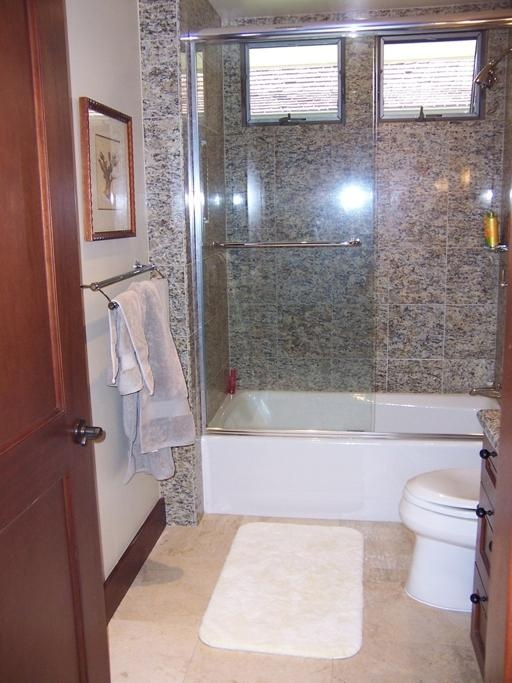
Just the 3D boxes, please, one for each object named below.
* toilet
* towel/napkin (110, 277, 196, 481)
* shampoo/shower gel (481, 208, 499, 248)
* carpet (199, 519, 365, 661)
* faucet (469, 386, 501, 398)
[{"bbox_3d":[0.555,0.716,2.059,0.430,0.386,0.367,1,6,6],"label":"toilet"},{"bbox_3d":[-0.407,0.176,1.993,0.214,0.772,0.443,1,9,16],"label":"towel/napkin"},{"bbox_3d":[1.341,-0.628,3.129,0.092,0.211,0.052,2,9,22],"label":"shampoo/shower gel"},{"bbox_3d":[0.133,0.949,2.212,0.579,0.015,0.970,0,5,11],"label":"carpet"},{"bbox_3d":[1.335,0.300,3.189,0.123,0.027,0.075,-3,43,16],"label":"faucet"}]
